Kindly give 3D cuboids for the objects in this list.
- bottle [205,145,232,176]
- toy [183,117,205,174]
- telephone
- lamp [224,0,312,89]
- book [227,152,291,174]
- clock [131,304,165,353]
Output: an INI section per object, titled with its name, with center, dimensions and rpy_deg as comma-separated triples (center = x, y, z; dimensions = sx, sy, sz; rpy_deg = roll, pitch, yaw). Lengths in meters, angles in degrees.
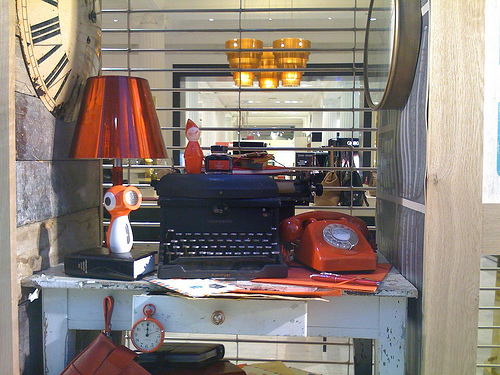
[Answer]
[bottle]
center = -0.136, -0.132, 3.240
dimensions = 0.124, 0.130, 0.179
rpy_deg = -1, 0, -2
[toy]
center = -0.257, -0.196, 3.284
dimensions = 0.091, 0.251, 0.248
rpy_deg = -1, 0, -6
[telephone]
center = 0.368, 0.244, 3.176
dimensions = 0.436, 0.244, 0.407
rpy_deg = 1, 5, -16
[lamp]
center = 0.182, -1.234, 6.720
dimensions = 1.076, 0.622, 0.889
rpy_deg = 1, 1, -1
[book]
center = 0.058, -0.118, 3.385
dimensions = 0.285, 0.108, 0.277
rpy_deg = -1, -1, -3
[clock]
center = -0.406, 0.564, 2.856
dimensions = 0.131, 0.221, 0.024
rpy_deg = 5, 21, -9
